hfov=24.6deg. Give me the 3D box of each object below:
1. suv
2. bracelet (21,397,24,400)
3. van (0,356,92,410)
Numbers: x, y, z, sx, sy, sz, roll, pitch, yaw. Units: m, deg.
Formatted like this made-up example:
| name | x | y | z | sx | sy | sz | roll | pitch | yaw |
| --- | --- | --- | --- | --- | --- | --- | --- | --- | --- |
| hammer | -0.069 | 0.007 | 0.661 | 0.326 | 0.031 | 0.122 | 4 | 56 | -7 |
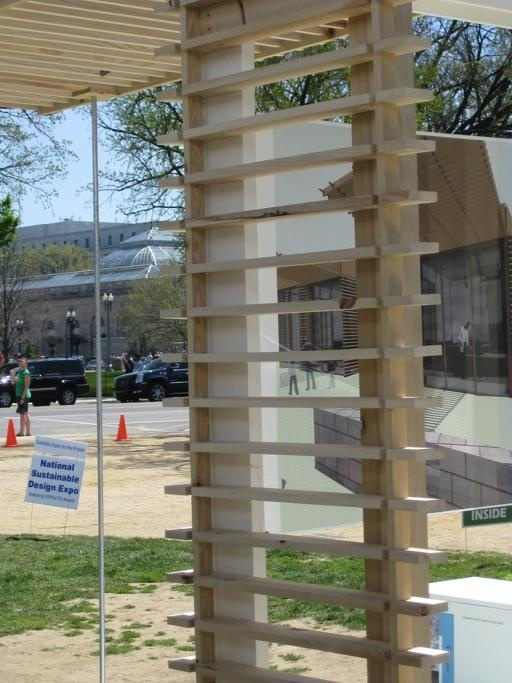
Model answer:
| name | x | y | z | sx | sy | sz | roll | pitch | yaw |
| --- | --- | --- | --- | --- | --- | --- | --- | --- | --- |
| suv | -2.741 | 1.025 | 31.709 | 1.031 | 1.183 | 2.673 | 8 | -5 | -34 |
| bracelet | -4.250 | 1.016 | 21.326 | 0.046 | 0.037 | 0.010 | 3 | 9 | 10 |
| van | -5.353 | 1.007 | 30.885 | 2.423 | 1.010 | 1.107 | 1 | -1 | -31 |
